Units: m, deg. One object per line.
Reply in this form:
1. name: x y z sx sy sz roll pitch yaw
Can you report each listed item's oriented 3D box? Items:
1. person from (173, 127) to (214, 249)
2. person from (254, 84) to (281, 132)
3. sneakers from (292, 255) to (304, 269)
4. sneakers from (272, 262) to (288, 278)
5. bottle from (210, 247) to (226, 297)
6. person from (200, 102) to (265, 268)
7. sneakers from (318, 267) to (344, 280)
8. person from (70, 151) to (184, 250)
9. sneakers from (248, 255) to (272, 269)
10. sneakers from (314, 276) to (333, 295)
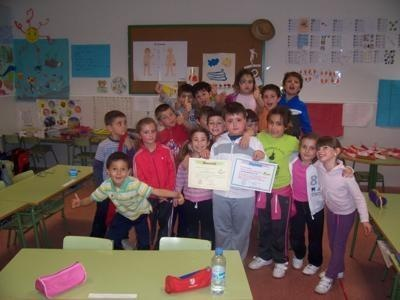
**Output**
1. person: -0.034 0.418 3.089 0.418 1.372 0.328 -3 20 -5
2. person: 0.875 -0.365 3.877 0.279 0.906 0.273 -1 4 5
3. sneakers: 1.034 1.178 3.286 0.072 0.153 0.055 3 -14 10
4. sneakers: 0.811 1.210 3.138 0.089 0.078 0.184 -2 5 28
5. bottle: 0.120 0.711 1.984 0.097 0.252 0.316 1 12 4
6. person: 0.316 0.374 2.932 0.577 1.665 0.468 6 18 21
7. sneakers: 1.293 1.246 3.101 0.297 0.130 0.110 0 49 2
8. person: -0.644 0.504 2.836 0.895 0.968 0.345 -1 12 -7
9. sneakers: 0.659 1.190 3.329 0.277 0.123 0.101 1 -2 -22
10. sneakers: 1.172 1.268 2.918 0.085 0.102 0.243 2 -7 33
